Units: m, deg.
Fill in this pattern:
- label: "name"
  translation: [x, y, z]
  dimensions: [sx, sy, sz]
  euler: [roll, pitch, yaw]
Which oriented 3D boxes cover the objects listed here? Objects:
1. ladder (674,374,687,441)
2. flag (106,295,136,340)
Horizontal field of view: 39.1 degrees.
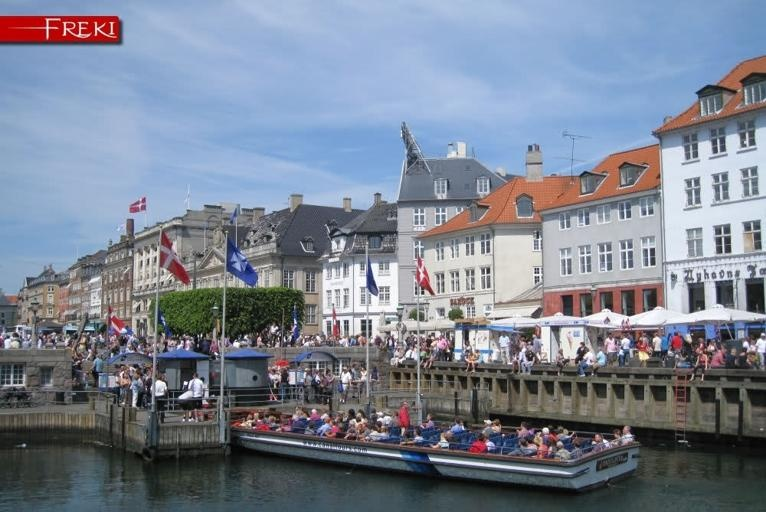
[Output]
- label: "ladder"
  translation: [16.693, 8.679, 60.356]
  dimensions: [0.818, 3.476, 0.404]
  euler: [-4, -10, 18]
- label: "flag"
  translation: [-29.520, 6.881, 122.088]
  dimensions: [0.542, 4.670, 5.394]
  euler: [-18, -49, 2]
